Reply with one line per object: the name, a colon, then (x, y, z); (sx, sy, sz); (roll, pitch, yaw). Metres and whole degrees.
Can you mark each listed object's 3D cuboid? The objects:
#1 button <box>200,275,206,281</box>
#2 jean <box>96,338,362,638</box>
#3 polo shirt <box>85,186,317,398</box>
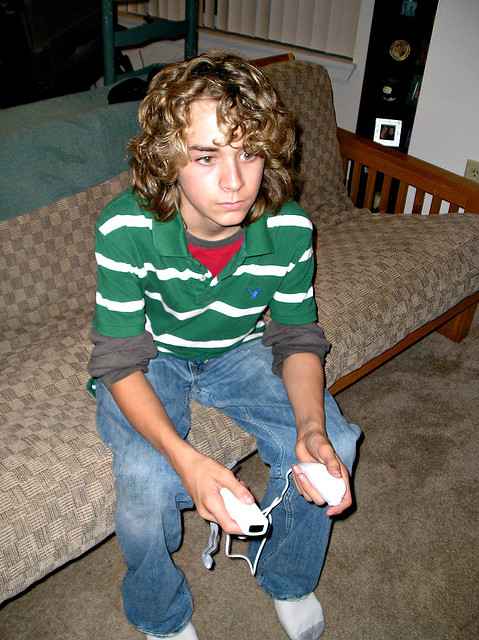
button: (-0.068, -0.077, 0.926); (0.010, 0.009, 0.003); (2, -10, -14)
jean: (-0.027, 0.328, 1.225); (0.643, 0.555, 0.515); (-7, 37, -18)
polo shirt: (-0.069, -0.070, 0.998); (0.444, 0.365, 0.201); (-10, 36, -18)
